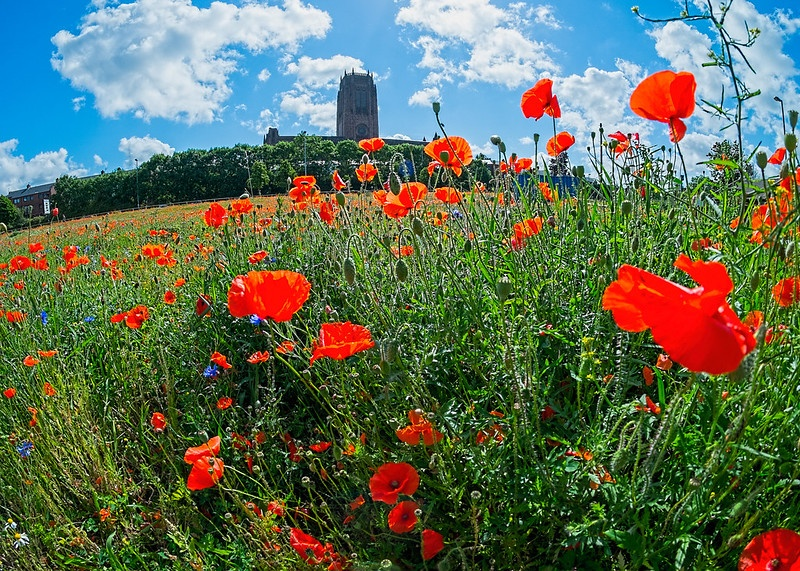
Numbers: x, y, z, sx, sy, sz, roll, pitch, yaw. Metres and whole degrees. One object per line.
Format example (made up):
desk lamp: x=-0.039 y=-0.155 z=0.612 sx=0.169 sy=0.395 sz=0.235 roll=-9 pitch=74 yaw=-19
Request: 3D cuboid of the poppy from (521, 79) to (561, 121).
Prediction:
poppy: x=0.687 y=-0.916 z=2.905 sx=0.202 sy=0.187 sz=0.134 roll=-25 pitch=28 yaw=-36
